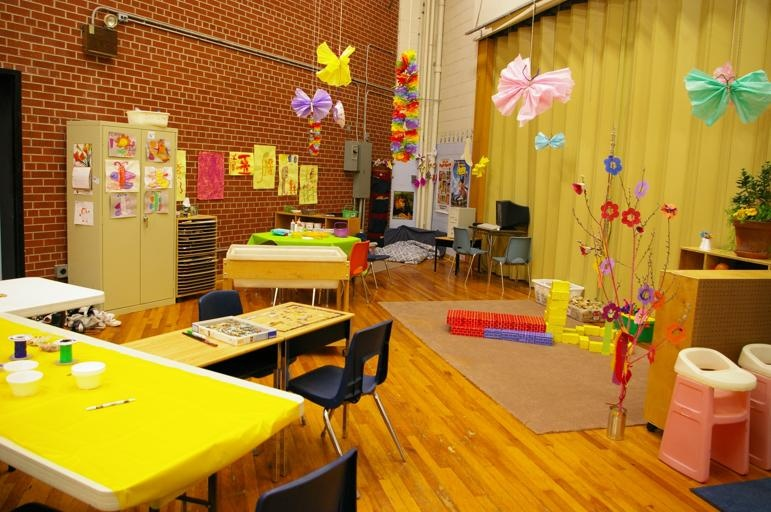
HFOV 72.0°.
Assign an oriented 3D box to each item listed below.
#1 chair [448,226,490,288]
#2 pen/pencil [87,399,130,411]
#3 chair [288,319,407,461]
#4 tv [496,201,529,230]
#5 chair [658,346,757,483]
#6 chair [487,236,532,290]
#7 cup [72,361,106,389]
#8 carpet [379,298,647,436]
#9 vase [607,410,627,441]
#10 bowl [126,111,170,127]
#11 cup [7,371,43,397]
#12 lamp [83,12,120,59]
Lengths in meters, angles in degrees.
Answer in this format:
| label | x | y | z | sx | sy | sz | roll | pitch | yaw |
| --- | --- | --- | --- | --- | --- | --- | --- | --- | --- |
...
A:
| label | x | y | z | sx | sy | sz | roll | pitch | yaw |
| --- | --- | --- | --- | --- | --- | --- | --- | --- | --- |
| chair | 1.665 | -0.106 | 10.365 | 0.642 | 0.982 | 0.575 | -19 | 19 | -20 |
| pen/pencil | -1.555 | 0.845 | 2.984 | 0.200 | 0.021 | 0.022 | -5 | -7 | -20 |
| chair | -0.392 | 1.168 | 4.455 | 0.958 | 1.200 | 0.858 | 0 | 6 | 22 |
| tv | 2.427 | -0.772 | 10.203 | 0.558 | 0.558 | 0.562 | 1 | 4 | 4 |
| chair | 2.701 | 1.331 | 4.460 | 0.597 | 0.974 | 0.533 | -4 | 16 | -25 |
| chair | 2.263 | 0.107 | 9.603 | 0.634 | 0.964 | 0.685 | -1 | 14 | -5 |
| cup | -1.762 | 0.697 | 3.155 | 0.164 | 0.099 | 0.165 | 2 | 8 | 0 |
| carpet | 1.751 | 1.130 | 7.000 | 2.523 | 0.156 | 4.065 | -3 | 15 | -22 |
| vase | 2.111 | 1.554 | 4.916 | 0.188 | 0.315 | 0.188 | 5 | 8 | 18 |
| bowl | -3.223 | -1.843 | 7.238 | 0.383 | 0.139 | 0.316 | -8 | 18 | -40 |
| cup | -2.054 | 0.712 | 3.042 | 0.151 | 0.093 | 0.153 | 2 | 2 | 0 |
| lamp | -3.867 | -3.024 | 7.245 | 0.207 | 0.643 | 0.512 | 10 | 16 | 26 |
